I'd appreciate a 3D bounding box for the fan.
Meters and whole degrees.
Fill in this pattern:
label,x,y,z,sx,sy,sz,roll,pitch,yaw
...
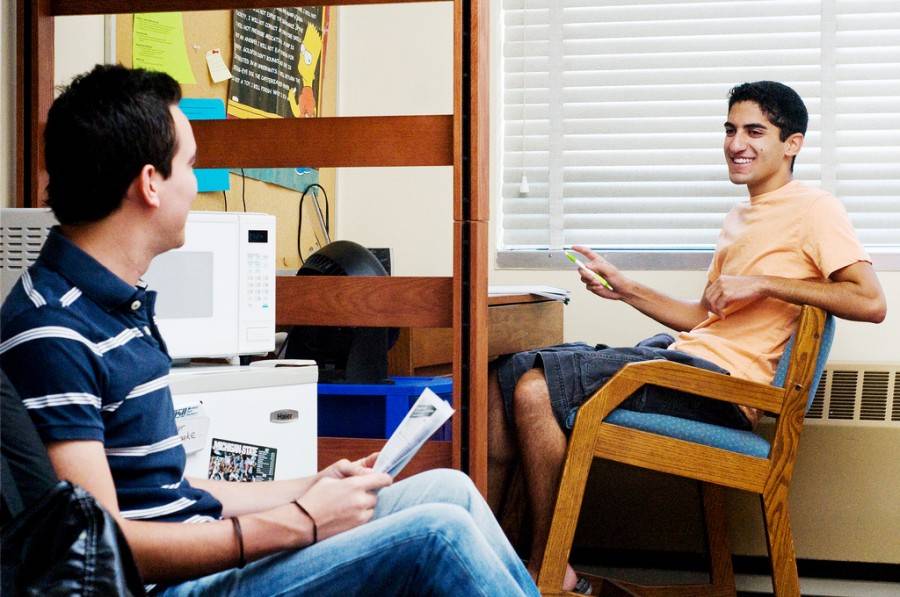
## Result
label,x,y,z,sx,sy,sz,roll,pitch,yaw
fan,-0.263,0.054,2.467,0.396,0.521,0.429,2,4,12

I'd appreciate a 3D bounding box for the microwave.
label,x,y,z,sx,sy,sz,roll,pitch,yaw
microwave,-0.757,-0.023,1.862,0.426,0.396,0.614,0,0,23

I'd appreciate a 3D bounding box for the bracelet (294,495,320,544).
label,x,y,z,sx,sy,sz,roll,pitch,yaw
bracelet,-0.264,0.415,1.415,0.017,0.062,0.064,-16,5,-14
